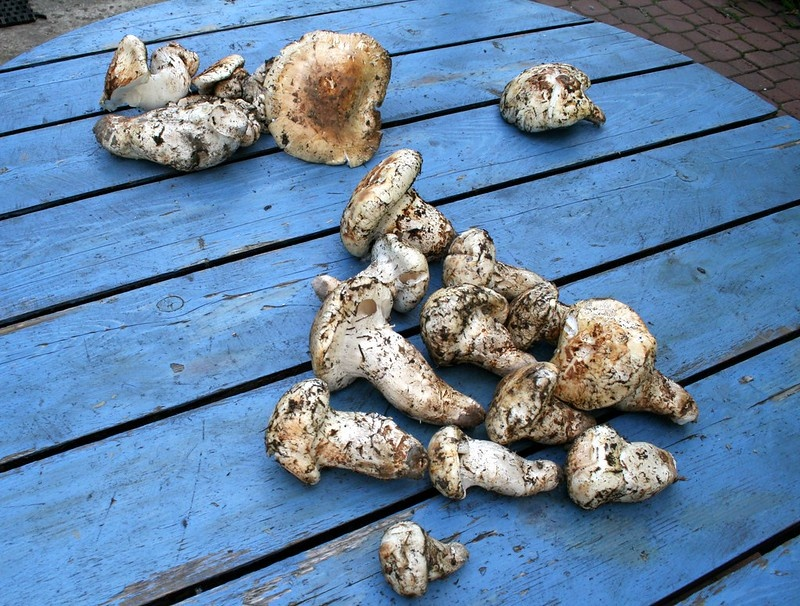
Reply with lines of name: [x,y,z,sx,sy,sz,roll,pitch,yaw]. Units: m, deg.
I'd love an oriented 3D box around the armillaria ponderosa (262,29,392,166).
armillaria ponderosa: [-0.367,-1.020,4.107,0.550,0.417,0.540,7,52,5]

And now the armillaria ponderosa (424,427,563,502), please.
armillaria ponderosa: [0.353,0.645,3.161,0.513,0.193,0.228,11,53,7]

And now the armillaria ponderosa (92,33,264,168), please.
armillaria ponderosa: [-1.101,-0.994,4.047,0.830,0.436,0.665,-8,53,-8]

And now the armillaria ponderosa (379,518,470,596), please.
armillaria ponderosa: [0.040,0.886,3.125,0.424,0.245,0.329,-4,23,-9]
